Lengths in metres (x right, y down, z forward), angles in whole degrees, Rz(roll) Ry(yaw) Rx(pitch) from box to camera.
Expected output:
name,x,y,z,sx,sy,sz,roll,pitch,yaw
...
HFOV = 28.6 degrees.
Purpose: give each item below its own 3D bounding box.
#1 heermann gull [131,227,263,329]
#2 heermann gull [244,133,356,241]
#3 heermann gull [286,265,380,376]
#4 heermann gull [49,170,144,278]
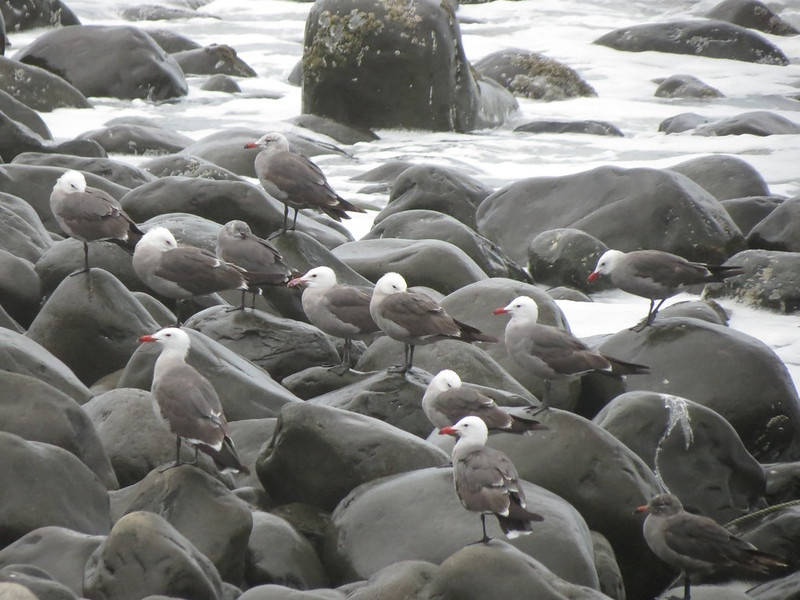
name,x,y,z,sx,sy,sz,roll,pitch,yaw
heermann gull,-2.641,-0.308,19.642,1.550,1.023,0.715,5,16,-20
heermann gull,-1.428,-1.410,21.570,1.092,1.302,1.295,-5,24,-20
heermann gull,-0.747,0.276,19.397,1.090,1.151,0.549,22,30,39
heermann gull,-3.887,-0.931,19.692,1.172,1.123,0.755,18,27,32
